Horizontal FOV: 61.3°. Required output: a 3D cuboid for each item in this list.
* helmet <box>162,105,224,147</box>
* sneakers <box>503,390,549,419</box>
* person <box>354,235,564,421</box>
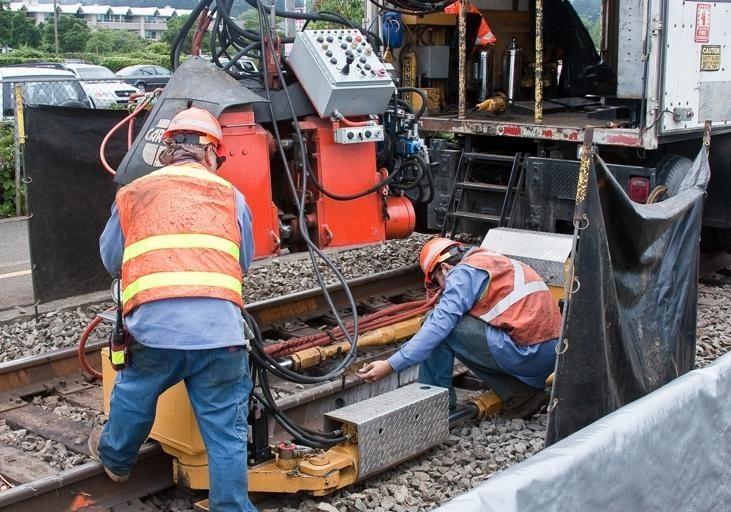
[{"bbox_3d":[-1.010,-0.826,3.794,0.241,0.161,0.298,-15,-32,39],"label":"helmet"},{"bbox_3d":[1.277,1.136,4.914,0.292,0.128,0.227,-34,4,14],"label":"sneakers"},{"bbox_3d":[0.783,0.612,4.625,1.328,1.459,0.515,-8,14,-17],"label":"person"}]
